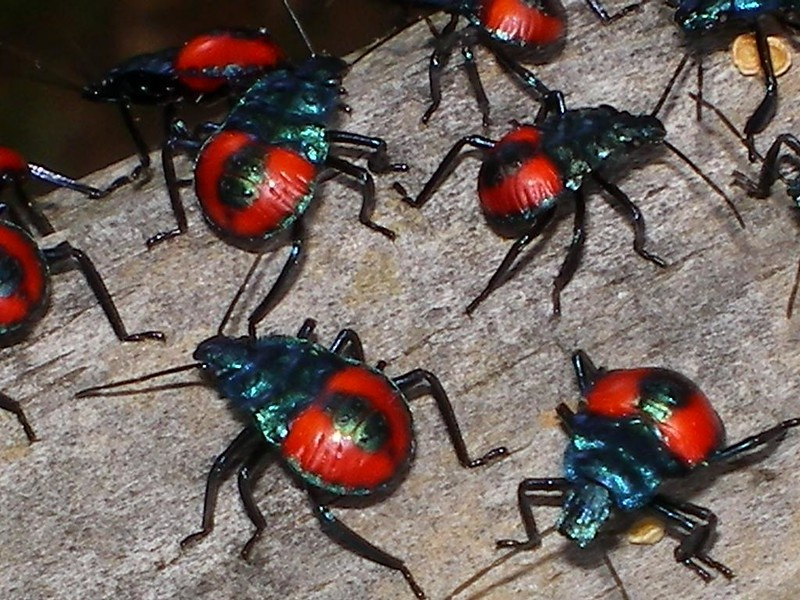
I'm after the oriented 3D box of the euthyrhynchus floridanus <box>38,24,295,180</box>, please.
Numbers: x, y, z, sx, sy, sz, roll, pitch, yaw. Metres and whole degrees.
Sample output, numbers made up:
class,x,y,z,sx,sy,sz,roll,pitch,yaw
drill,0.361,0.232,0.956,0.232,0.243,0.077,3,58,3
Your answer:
class,x,y,z,sx,sy,sz,roll,pitch,yaw
euthyrhynchus floridanus,-1.316,-1.287,5.829,1.082,0.342,0.830,-24,48,20

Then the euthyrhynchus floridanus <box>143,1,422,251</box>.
class,x,y,z,sx,sy,sz,roll,pitch,yaw
euthyrhynchus floridanus,-0.643,-0.762,5.724,0.956,1.309,0.921,-22,72,-5

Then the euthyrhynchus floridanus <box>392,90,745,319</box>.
class,x,y,z,sx,sy,sz,roll,pitch,yaw
euthyrhynchus floridanus,0.777,-0.612,5.323,1.480,0.494,1.155,-29,71,-5

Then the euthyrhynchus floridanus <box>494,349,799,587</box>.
class,x,y,z,sx,sy,sz,roll,pitch,yaw
euthyrhynchus floridanus,1.173,0.760,4.908,1.117,0.297,1.228,18,66,19
